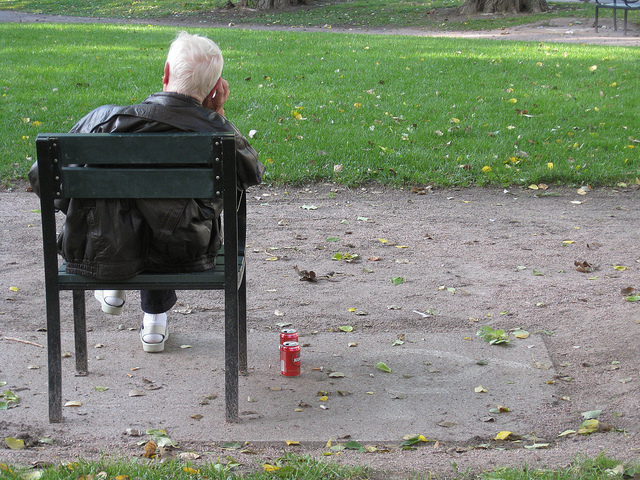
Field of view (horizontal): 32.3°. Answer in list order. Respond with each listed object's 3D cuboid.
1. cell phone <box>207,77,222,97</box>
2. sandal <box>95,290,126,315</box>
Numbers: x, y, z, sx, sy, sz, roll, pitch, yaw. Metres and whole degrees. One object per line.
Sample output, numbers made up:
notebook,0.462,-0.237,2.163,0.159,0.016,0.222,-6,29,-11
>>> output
cell phone,-0.947,-1.378,9.981,0.041,0.159,0.172,32,13,-20
sandal,-1.956,0.580,10.398,0.167,0.156,0.410,4,10,-16
